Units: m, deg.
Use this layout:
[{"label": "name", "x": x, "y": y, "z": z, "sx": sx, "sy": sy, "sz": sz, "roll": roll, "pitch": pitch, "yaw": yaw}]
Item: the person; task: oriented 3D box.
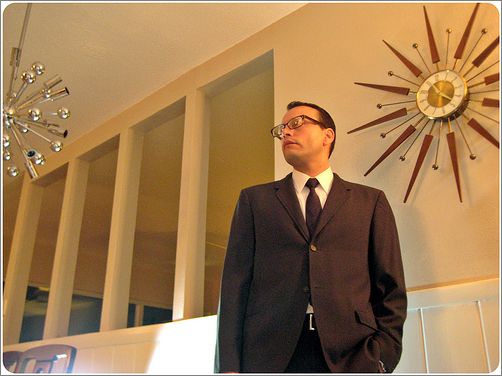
[{"label": "person", "x": 0.212, "y": 0.140, "z": 1.740, "sx": 0.744, "sy": 1.185, "sz": 0.246, "roll": -10, "pitch": -30, "yaw": 18}]
